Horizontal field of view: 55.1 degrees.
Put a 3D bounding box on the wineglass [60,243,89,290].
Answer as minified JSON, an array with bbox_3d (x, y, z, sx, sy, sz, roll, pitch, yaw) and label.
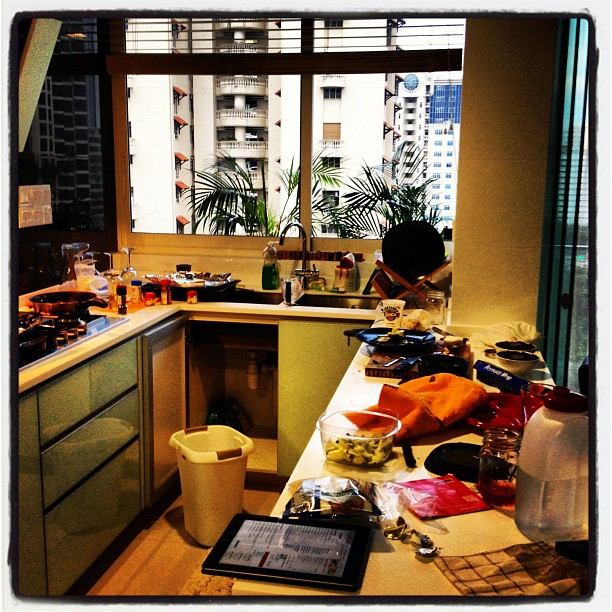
[{"bbox_3d":[-1.129,-0.158,2.814,0.147,0.261,0.119,4,0,7],"label":"wineglass"}]

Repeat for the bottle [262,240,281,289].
[{"bbox_3d":[-0.214,-0.243,3.588,0.110,0.263,0.175,1,13,-4],"label":"bottle"}]

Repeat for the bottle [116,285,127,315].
[{"bbox_3d":[-0.879,-0.026,2.787,0.042,0.129,0.108,-2,14,-20],"label":"bottle"}]

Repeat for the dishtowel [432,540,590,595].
[{"bbox_3d":[0.327,0.419,0.920,0.220,0.041,0.161,0,13,-10],"label":"dishtowel"}]

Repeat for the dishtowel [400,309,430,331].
[{"bbox_3d":[0.466,0.056,2.472,0.076,0.049,0.122,5,18,16],"label":"dishtowel"}]

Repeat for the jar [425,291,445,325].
[{"bbox_3d":[0.593,0.009,2.678,0.088,0.153,0.173,6,13,14],"label":"jar"}]

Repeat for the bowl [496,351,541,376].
[{"bbox_3d":[0.734,0.188,2.038,0.133,0.069,0.248,8,14,22],"label":"bowl"}]

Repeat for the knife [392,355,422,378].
[{"bbox_3d":[0.335,0.188,1.949,0.041,0.017,0.202,3,13,17],"label":"knife"}]

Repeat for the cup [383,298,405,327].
[{"bbox_3d":[0.375,0.022,2.536,0.102,0.113,0.107,1,20,-1],"label":"cup"}]

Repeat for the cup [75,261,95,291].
[{"bbox_3d":[-1.109,-0.150,2.939,0.089,0.142,0.079,-4,14,-25],"label":"cup"}]

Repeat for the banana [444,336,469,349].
[{"bbox_3d":[0.573,0.136,2.247,0.060,0.035,0.050,-3,8,-15],"label":"banana"}]
